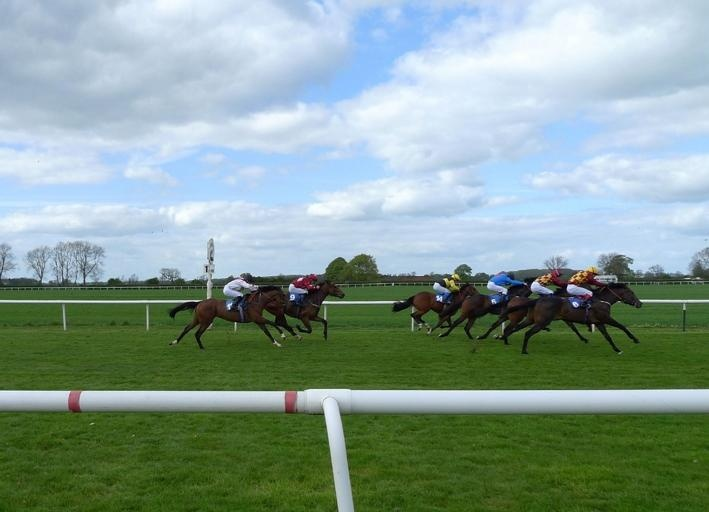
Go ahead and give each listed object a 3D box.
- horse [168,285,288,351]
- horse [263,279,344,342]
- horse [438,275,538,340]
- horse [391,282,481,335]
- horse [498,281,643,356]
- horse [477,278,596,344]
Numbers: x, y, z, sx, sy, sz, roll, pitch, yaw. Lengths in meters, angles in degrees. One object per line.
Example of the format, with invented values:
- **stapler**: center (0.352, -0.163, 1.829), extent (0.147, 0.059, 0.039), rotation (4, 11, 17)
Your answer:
- **horse**: center (-1.688, 0.836, 8.495), extent (1.691, 0.696, 0.293), rotation (-3, -1, 11)
- **horse**: center (-0.920, 0.792, 9.416), extent (1.786, 0.838, 0.350), rotation (-2, -7, 27)
- **horse**: center (1.964, 0.743, 9.171), extent (1.825, 0.808, 0.330), rotation (-2, 1, -19)
- **horse**: center (1.273, 0.825, 9.934), extent (1.560, 0.749, 0.331), rotation (2, -3, 34)
- **horse**: center (2.819, 0.777, 8.106), extent (1.241, 0.824, 1.616), rotation (-3, -3, 41)
- **horse**: center (2.816, 0.799, 8.868), extent (1.789, 0.855, 0.306), rotation (0, 12, -22)
